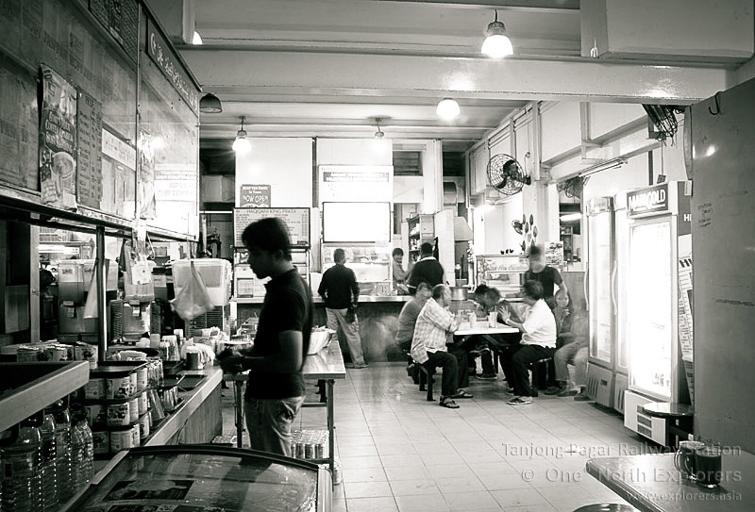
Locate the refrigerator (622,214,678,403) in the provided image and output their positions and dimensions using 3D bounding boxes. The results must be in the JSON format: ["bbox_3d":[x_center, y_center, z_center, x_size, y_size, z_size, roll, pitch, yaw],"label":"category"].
[{"bbox_3d":[2.699,0.483,6.406,0.263,1.723,0.796,-1,4,-6],"label":"refrigerator"}]

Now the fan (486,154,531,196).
[{"bbox_3d":[2.197,-1.352,10.876,0.378,0.641,0.650,-21,4,-42],"label":"fan"}]

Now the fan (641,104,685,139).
[{"bbox_3d":[2.934,-1.395,6.772,0.415,0.455,0.475,-2,5,0],"label":"fan"}]

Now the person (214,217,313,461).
[{"bbox_3d":[-0.724,0.535,4.310,0.538,1.566,0.298,0,4,4],"label":"person"}]

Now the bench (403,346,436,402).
[{"bbox_3d":[0.531,1.461,8.385,0.394,0.524,1.257,0,4,0],"label":"bench"}]

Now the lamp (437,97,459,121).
[{"bbox_3d":[0.914,-1.950,8.532,0.243,0.266,0.411,0,4,10],"label":"lamp"}]

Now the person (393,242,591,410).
[{"bbox_3d":[1.541,0.970,8.641,1.895,1.357,1.069,-1,-3,-1],"label":"person"}]

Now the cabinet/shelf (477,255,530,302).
[{"bbox_3d":[1.954,0.290,10.288,0.833,0.827,0.623,0,-4,-2],"label":"cabinet/shelf"}]

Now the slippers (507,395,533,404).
[{"bbox_3d":[1.670,1.668,7.696,0.264,0.106,0.111,2,-7,-2],"label":"slippers"}]

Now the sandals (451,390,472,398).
[{"bbox_3d":[1.019,1.657,7.966,0.332,0.095,0.125,-1,-1,-38],"label":"sandals"}]

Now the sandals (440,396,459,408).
[{"bbox_3d":[0.830,1.679,7.605,0.227,0.105,0.300,0,4,3],"label":"sandals"}]

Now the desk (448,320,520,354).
[{"bbox_3d":[1.320,0.979,8.312,1.103,0.288,0.690,-2,4,-26],"label":"desk"}]

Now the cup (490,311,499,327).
[{"bbox_3d":[1.489,0.819,8.498,0.149,0.239,0.151,0,-1,0],"label":"cup"}]

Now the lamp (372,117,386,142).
[{"bbox_3d":[0.001,-2.339,12.201,0.305,0.545,0.233,-6,8,-37],"label":"lamp"}]

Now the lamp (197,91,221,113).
[{"bbox_3d":[-1.953,-1.811,7.645,0.213,0.247,0.585,-1,4,-12],"label":"lamp"}]
